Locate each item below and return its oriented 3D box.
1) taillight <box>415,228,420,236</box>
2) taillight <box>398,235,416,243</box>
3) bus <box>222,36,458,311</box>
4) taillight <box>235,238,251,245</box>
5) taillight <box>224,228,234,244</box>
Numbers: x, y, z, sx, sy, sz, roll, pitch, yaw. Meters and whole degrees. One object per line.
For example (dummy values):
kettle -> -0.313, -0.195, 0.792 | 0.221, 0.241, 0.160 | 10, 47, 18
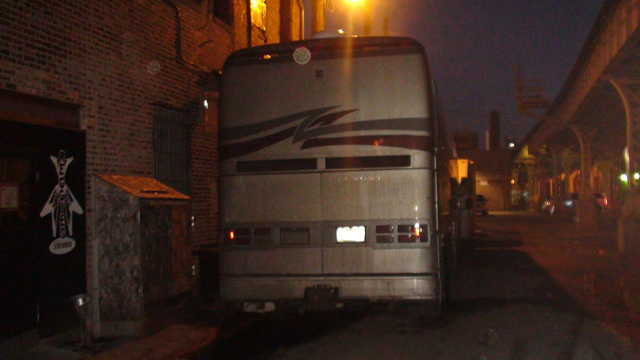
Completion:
taillight -> 2.185, 1.187, 11.201 | 0.127, 0.239, 0.131 | -1, -3, 26
taillight -> 1.953, 1.333, 11.219 | 0.389, 0.168, 0.062 | -2, 5, -3
bus -> 0.196, -0.092, 11.426 | 4.829, 6.340, 0.953 | -1, 5, 4
taillight -> -1.774, 1.435, 11.572 | 0.368, 0.146, 0.074 | -2, 5, -3
taillight -> -2.117, 1.307, 11.618 | 0.299, 0.306, 0.078 | 1, 4, 9
